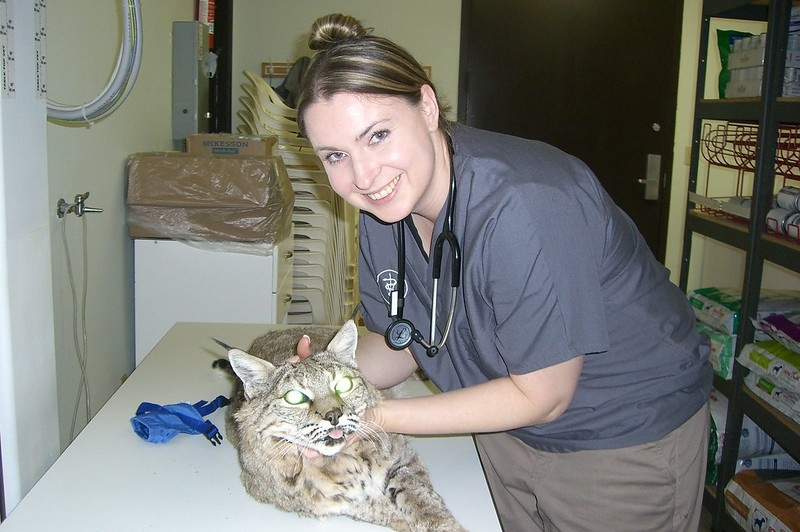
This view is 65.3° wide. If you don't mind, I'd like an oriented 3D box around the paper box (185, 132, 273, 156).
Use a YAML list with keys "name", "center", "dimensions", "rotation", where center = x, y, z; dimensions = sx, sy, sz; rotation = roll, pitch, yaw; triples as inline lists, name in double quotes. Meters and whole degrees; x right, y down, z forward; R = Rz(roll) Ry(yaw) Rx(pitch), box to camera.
- name: "paper box"
  center: [-0.942, -0.676, 3.504]
  dimensions: [0.509, 0.111, 0.279]
  rotation: [-5, 16, -19]

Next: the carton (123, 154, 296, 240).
- name: "carton"
  center: [-0.993, -0.342, 3.298]
  dimensions: [0.625, 0.325, 0.475]
  rotation: [2, 3, 0]

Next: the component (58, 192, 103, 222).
- name: "component"
  center: [-1.373, -0.244, 2.680]
  dimensions: [0.157, 0.094, 0.094]
  rotation: [3, 11, 16]

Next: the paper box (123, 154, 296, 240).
- name: "paper box"
  center: [-1.002, -0.338, 3.143]
  dimensions: [0.625, 0.325, 0.475]
  rotation: [2, 3, 0]
